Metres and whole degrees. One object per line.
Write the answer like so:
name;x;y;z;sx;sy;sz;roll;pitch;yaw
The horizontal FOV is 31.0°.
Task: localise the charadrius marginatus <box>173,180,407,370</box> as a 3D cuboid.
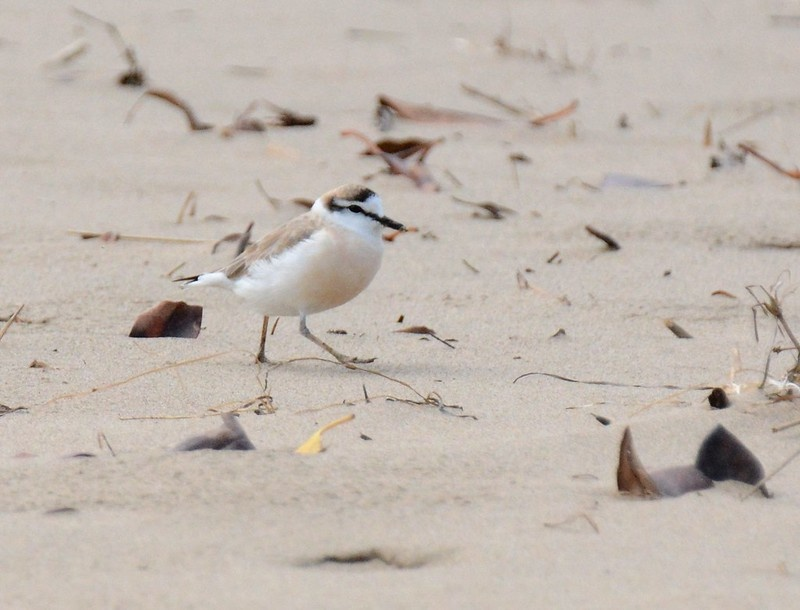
charadrius marginatus;-0.496;-0.178;6.564;0.830;0.342;0.833;15;82;1
